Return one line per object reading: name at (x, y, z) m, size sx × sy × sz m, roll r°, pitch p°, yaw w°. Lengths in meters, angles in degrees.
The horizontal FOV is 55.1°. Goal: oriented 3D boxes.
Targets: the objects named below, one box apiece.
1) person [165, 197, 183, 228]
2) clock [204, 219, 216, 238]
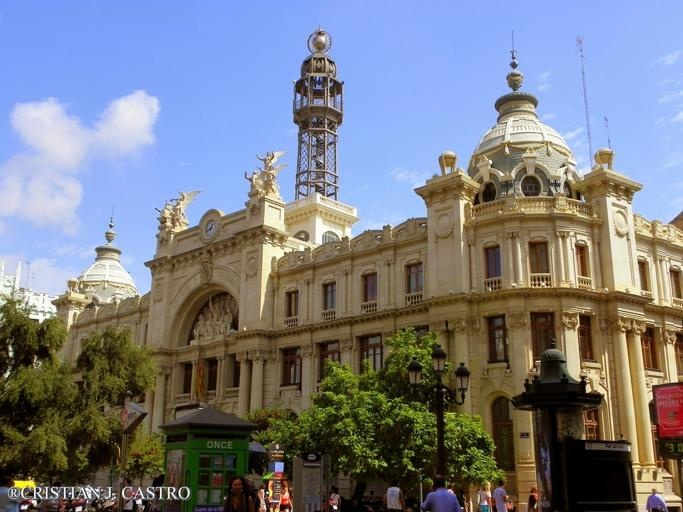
person at (-14.298, -3.585, 56.169) m, size 1.368 × 2.761 × 0.587 m, roll 5°, pitch -24°, yaw -13°
clock at (-10.547, -2.144, 52.474) m, size 0.095 × 1.358 × 1.338 m, roll 14°, pitch -19°, yaw -37°
